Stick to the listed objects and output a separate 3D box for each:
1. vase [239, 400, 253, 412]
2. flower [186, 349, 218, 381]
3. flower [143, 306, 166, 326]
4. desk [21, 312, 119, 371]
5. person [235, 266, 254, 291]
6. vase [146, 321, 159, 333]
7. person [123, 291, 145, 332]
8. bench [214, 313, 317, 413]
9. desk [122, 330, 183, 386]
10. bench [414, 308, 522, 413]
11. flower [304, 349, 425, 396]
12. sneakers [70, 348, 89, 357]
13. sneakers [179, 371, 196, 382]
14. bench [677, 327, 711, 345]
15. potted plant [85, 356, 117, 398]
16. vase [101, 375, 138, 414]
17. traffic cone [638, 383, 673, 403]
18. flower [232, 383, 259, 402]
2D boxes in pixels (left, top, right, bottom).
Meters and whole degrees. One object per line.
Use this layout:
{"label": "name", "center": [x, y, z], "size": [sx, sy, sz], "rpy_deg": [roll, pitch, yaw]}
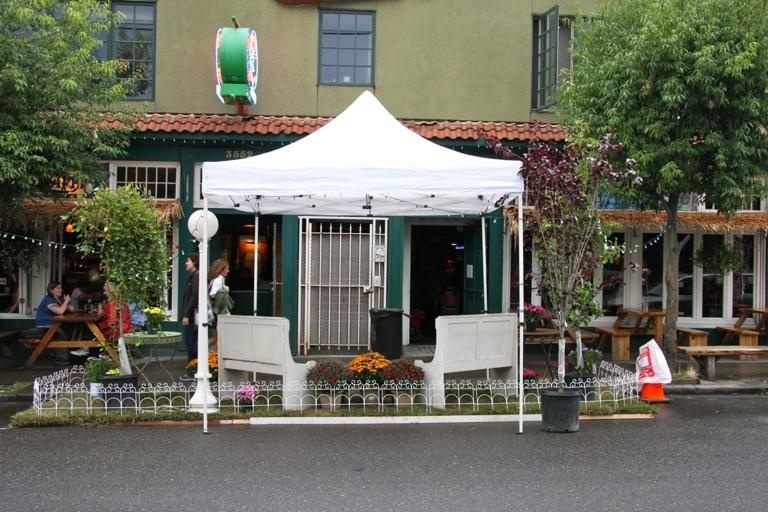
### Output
{"label": "vase", "center": [-2.728, 2.940, 24.161], "size": [0.245, 0.210, 0.260], "rpy_deg": [-1, 0, -2]}
{"label": "flower", "center": [-3.697, 2.224, 24.961], "size": [0.679, 0.392, 0.695], "rpy_deg": [1, 0, -6]}
{"label": "flower", "center": [-4.683, 1.226, 25.057], "size": [0.376, 0.390, 0.375], "rpy_deg": [2, 0, -24]}
{"label": "desk", "center": [-7.197, 1.929, 28.538], "size": [2.207, 1.148, 1.985], "rpy_deg": [0, 2, -14]}
{"label": "person", "center": [-3.390, 0.512, 29.782], "size": [0.438, 0.857, 0.448], "rpy_deg": [2, 13, 1]}
{"label": "vase", "center": [-4.720, 1.456, 25.108], "size": [0.212, 0.213, 0.211], "rpy_deg": [2, 2, 1]}
{"label": "person", "center": [-5.545, 1.278, 27.816], "size": [0.720, 0.952, 0.325], "rpy_deg": [4, -1, -45]}
{"label": "bench", "center": [-2.325, 2.001, 24.309], "size": [0.774, 1.617, 2.053], "rpy_deg": [-4, -9, 36]}
{"label": "desk", "center": [-4.743, 2.098, 25.339], "size": [1.128, 1.004, 1.271], "rpy_deg": [0, 4, 27]}
{"label": "bench", "center": [1.722, 1.995, 24.737], "size": [2.006, 1.698, 0.917], "rpy_deg": [-2, 1, -39]}
{"label": "flower", "center": [-0.328, 2.337, 24.308], "size": [2.247, 0.726, 0.455], "rpy_deg": [-1, 0, 4]}
{"label": "sneakers", "center": [-6.956, 2.197, 28.174], "size": [0.469, 0.213, 0.180], "rpy_deg": [4, 4, 7]}
{"label": "sneakers", "center": [-4.173, 2.576, 26.117], "size": [0.259, 0.236, 0.544], "rpy_deg": [-5, -9, 44]}
{"label": "bench", "center": [7.414, 1.922, 29.314], "size": [0.708, 0.419, 1.221], "rpy_deg": [-1, 0, 14]}
{"label": "potted plant", "center": [-5.739, 2.399, 24.602], "size": [0.672, 0.950, 0.824], "rpy_deg": [0, -2, 12]}
{"label": "vase", "center": [-5.206, 2.863, 24.310], "size": [0.846, 0.848, 0.582], "rpy_deg": [0, -34, -14]}
{"label": "traffic cone", "center": [5.594, 2.830, 25.433], "size": [0.443, 0.427, 0.454], "rpy_deg": [0, -4, 0]}
{"label": "flower", "center": [-2.714, 2.698, 24.263], "size": [0.325, 0.238, 0.322], "rpy_deg": [-2, 1, 34]}
